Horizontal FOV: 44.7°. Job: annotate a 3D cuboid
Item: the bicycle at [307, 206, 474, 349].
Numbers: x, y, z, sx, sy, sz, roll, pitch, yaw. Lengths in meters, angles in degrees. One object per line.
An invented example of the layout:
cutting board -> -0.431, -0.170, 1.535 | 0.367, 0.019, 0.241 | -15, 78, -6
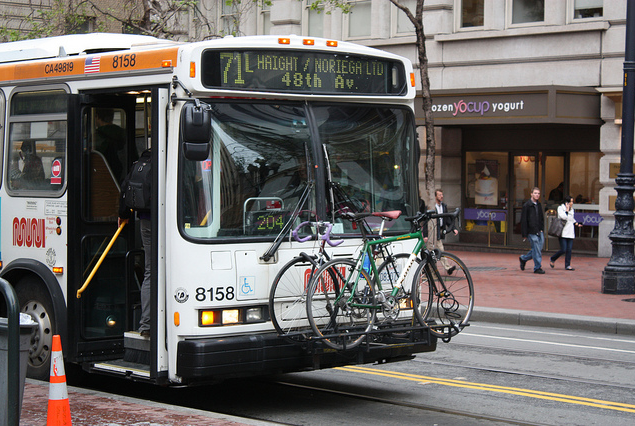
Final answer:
bicycle -> 0.915, 0.796, 9.254 | 2.426, 1.513, 0.538 | -2, -8, -29

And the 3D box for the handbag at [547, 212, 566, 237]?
handbag -> 6.324, 0.375, 20.477 | 0.255, 0.533, 0.449 | -2, 5, -29

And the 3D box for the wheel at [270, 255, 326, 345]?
wheel -> -0.174, 0.964, 8.643 | 0.892, 0.902, 0.083 | -24, -26, 26

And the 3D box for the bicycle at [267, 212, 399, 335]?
bicycle -> -0.072, 0.751, 8.837 | 1.022, 1.198, 0.508 | -1, 4, -18

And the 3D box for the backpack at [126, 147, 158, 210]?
backpack -> -2.095, -0.370, 9.059 | 0.320, 0.695, 0.309 | 0, 4, -8
